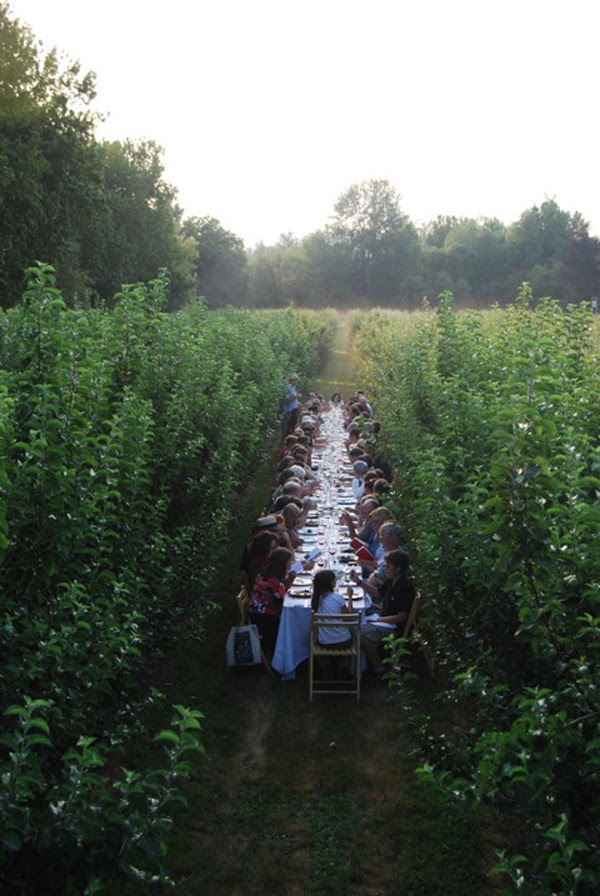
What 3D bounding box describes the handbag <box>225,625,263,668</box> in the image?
[{"bbox_3d":[-0.512,1.864,6.759,0.384,0.508,0.193,0,-6,0],"label":"handbag"}]
